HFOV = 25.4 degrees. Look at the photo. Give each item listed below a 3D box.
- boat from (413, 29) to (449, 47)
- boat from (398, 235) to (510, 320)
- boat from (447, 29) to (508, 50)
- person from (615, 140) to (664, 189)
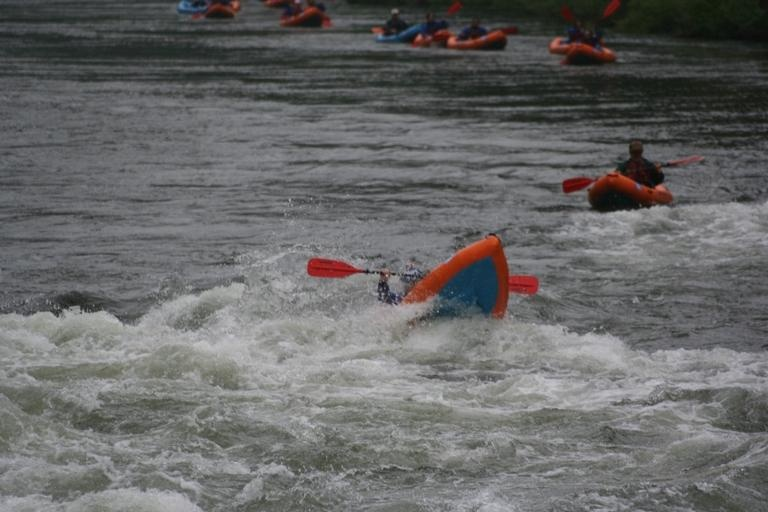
[{"bbox_3d":[1.735,-8.048,62.616,1.391,0.617,0.745,6,14,13],"label":"boat"},{"bbox_3d":[2.141,0.624,43.003,2.270,1.906,3.294,0,-1,3],"label":"boat"},{"bbox_3d":[3.367,-7.820,61.186,0.852,0.860,2.480,-5,15,-32],"label":"boat"},{"bbox_3d":[7.124,-2.409,45.448,1.079,1.368,1.436,0,-11,0],"label":"person"}]
